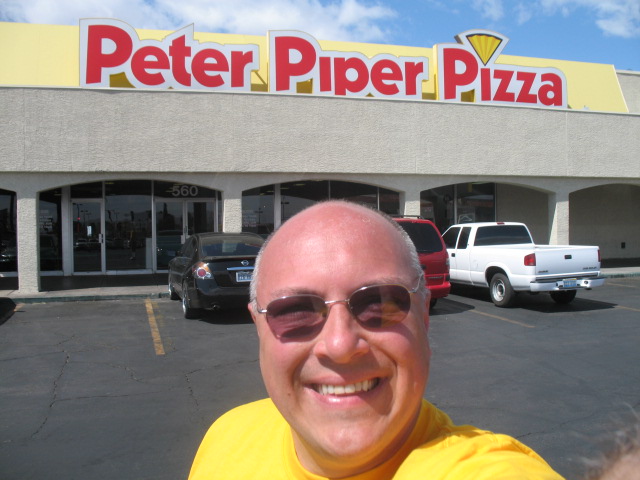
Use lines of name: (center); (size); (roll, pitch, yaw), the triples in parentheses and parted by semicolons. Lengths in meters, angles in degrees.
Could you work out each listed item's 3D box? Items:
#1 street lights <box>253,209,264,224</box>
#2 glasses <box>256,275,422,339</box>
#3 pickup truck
street lights: (-2.191, -0.872, 17.943); (0.455, 0.428, 0.111); (14, 8, -4)
glasses: (0.074, 0.280, 1.967); (0.587, 0.232, 0.129); (0, 3, 11)
pickup truck: (4.432, 0.530, 12.000); (1.958, 1.440, 3.720); (-1, 4, -21)
